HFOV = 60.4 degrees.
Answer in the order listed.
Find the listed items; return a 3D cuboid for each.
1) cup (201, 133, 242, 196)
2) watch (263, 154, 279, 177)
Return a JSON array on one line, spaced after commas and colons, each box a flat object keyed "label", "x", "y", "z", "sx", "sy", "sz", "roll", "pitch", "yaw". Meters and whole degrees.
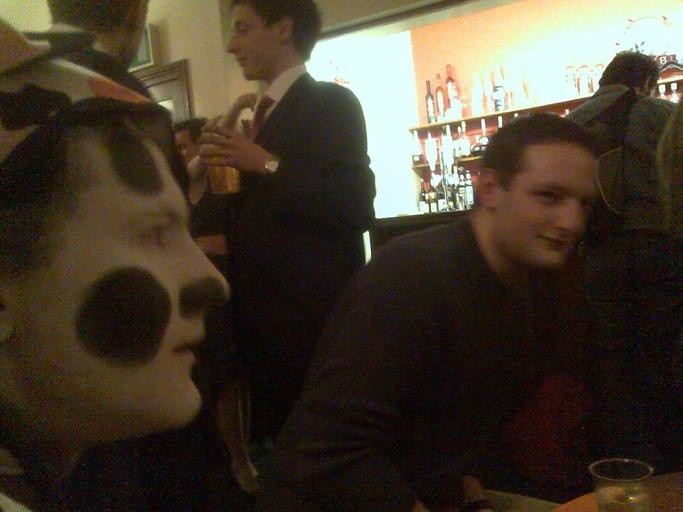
[{"label": "cup", "x": -0.149, "y": -0.099, "z": 0.742, "sx": 0.045, "sy": 0.047, "sz": 0.042, "roll": 0, "pitch": 7, "yaw": 0}, {"label": "watch", "x": -0.088, "y": -0.114, "z": 0.739, "sx": 0.019, "sy": 0.019, "sz": 0.024, "roll": 14, "pitch": -40, "yaw": -3}]
